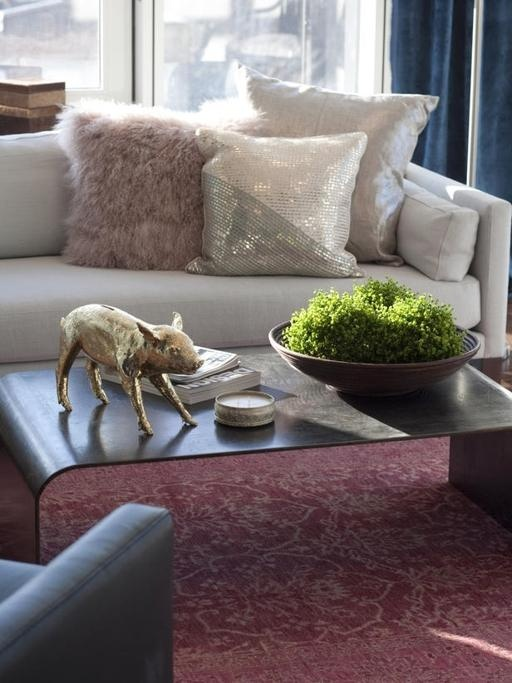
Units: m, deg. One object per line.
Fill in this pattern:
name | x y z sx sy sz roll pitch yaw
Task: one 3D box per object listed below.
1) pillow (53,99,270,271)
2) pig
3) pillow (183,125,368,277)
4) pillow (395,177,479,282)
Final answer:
pillow | -0.368 -0.516 2.299 0.791 0.538 0.378 -8 25 -18
pig | -0.226 0.026 1.350 0.446 0.210 0.154 16 23 33
pillow | 0.068 -0.462 2.325 0.612 0.461 0.212 -1 17 -12
pillow | 0.616 -0.378 2.431 0.188 0.253 0.501 -1 20 -11
